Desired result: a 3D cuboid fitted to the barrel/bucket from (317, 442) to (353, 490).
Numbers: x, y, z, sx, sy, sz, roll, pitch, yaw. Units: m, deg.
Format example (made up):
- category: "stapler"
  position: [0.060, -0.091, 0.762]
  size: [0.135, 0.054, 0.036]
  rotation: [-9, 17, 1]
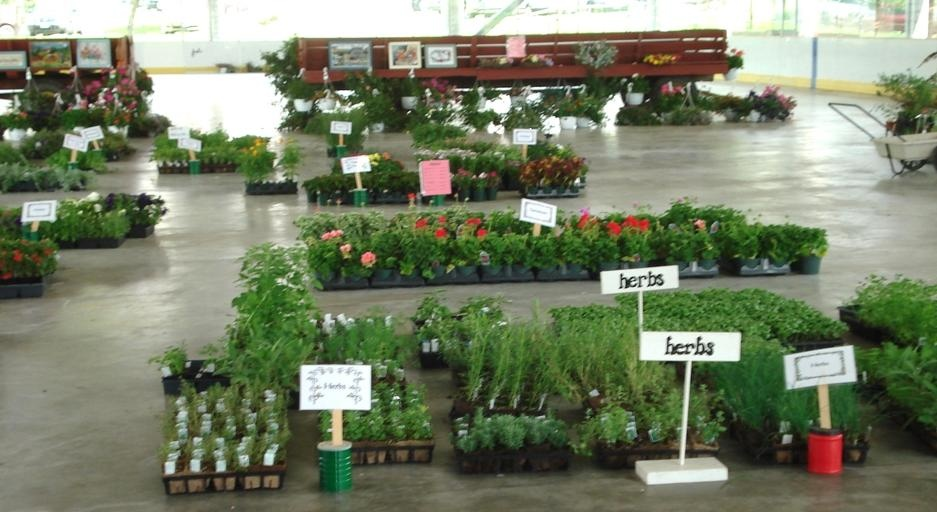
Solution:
- category: "barrel/bucket"
  position: [-1.503, 2.353, 10.413]
  size: [0.444, 0.423, 0.436]
  rotation: [-3, -3, 0]
